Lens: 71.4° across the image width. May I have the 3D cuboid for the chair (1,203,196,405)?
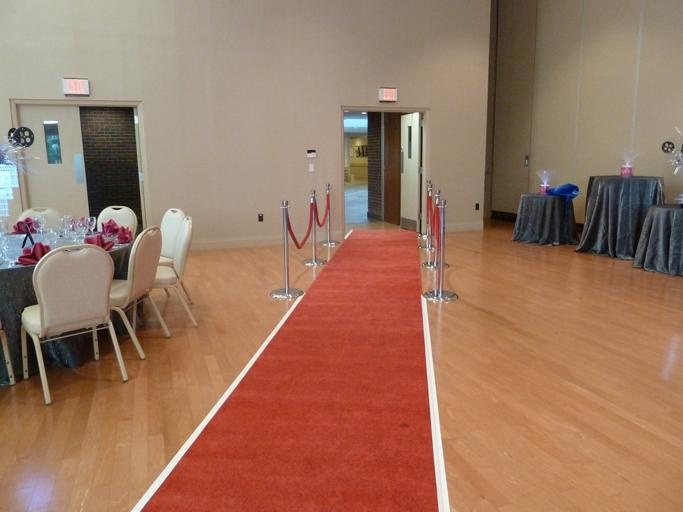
[{"bbox_3d":[-2.060,0.459,4.066,0.474,1.005,1.278,10,16,15],"label":"chair"}]
